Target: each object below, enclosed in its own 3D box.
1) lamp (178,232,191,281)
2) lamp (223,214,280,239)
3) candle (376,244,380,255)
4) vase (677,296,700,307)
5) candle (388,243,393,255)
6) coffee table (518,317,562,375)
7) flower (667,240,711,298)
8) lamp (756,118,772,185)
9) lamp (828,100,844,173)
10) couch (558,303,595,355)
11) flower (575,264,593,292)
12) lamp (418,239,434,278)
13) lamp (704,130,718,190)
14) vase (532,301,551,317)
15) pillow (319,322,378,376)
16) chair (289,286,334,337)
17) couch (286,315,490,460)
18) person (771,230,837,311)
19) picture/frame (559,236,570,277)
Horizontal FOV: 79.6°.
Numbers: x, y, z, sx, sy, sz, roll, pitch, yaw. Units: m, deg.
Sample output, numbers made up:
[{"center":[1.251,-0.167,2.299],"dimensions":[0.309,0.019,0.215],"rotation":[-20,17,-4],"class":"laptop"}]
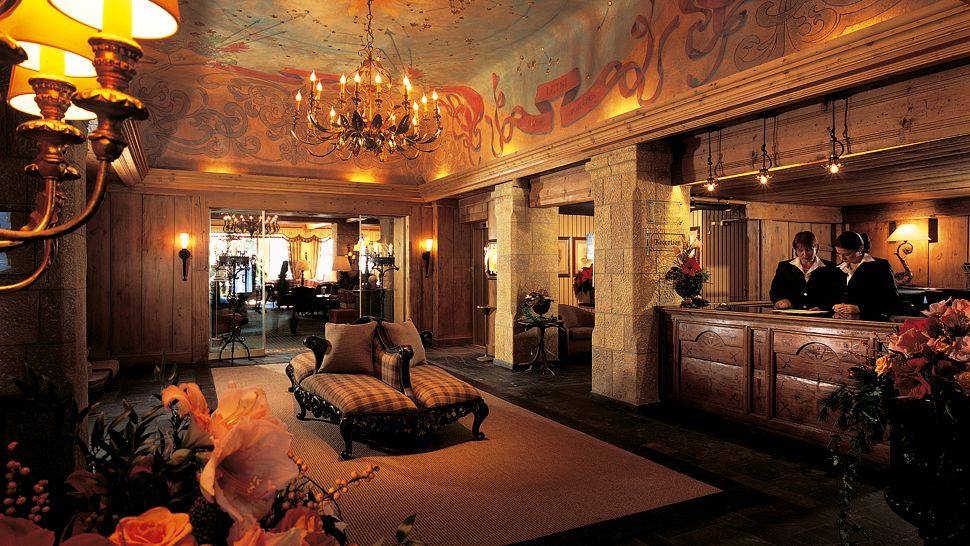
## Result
[{"center":[-5.469,-0.294,10.612],"dimensions":[0.222,0.866,0.257],"rotation":[-5,9,-26],"class":"lamp"},{"center":[-4.798,-0.981,12.024],"dimensions":[1.170,0.548,1.134],"rotation":[1,-2,-7],"class":"lamp"},{"center":[-2.370,-0.545,12.980],"dimensions":[0.129,0.226,0.407],"rotation":[-2,7,-10],"class":"candle"},{"center":[2.763,0.390,7.922],"dimensions":[0.183,0.063,0.186],"rotation":[-3,3,-28],"class":"vase"},{"center":[-2.121,-0.538,13.083],"dimensions":[0.133,0.253,0.058],"rotation":[4,9,28],"class":"candle"},{"center":[0.967,1.244,10.031],"dimensions":[0.796,0.784,0.731],"rotation":[10,-14,-26],"class":"coffee table"},{"center":[2.710,-0.014,7.910],"dimensions":[0.517,0.782,0.427],"rotation":[1,8,8],"class":"flower"},{"center":[3.292,-1.467,6.843],"dimensions":[0.169,0.748,0.331],"rotation":[3,9,24],"class":"lamp"},{"center":[3.781,-1.496,6.249],"dimensions":[0.182,0.768,0.346],"rotation":[4,9,29],"class":"lamp"},{"center":[1.599,1.086,11.154],"dimensions":[0.893,0.933,0.924],"rotation":[1,-6,-14],"class":"couch"},{"center":[2.208,0.133,13.005],"dimensions":[0.541,0.399,0.505],"rotation":[1,2,3],"class":"flower"},{"center":[-1.269,-0.324,12.737],"dimensions":[0.321,0.842,0.218],"rotation":[-4,9,-24],"class":"lamp"},{"center":[2.898,-1.462,7.468],"dimensions":[0.128,0.718,0.224],"rotation":[1,8,14],"class":"lamp"},{"center":[0.959,0.610,9.917],"dimensions":[0.317,0.198,0.274],"rotation":[0,-6,7],"class":"vase"},{"center":[-1.667,0.953,7.112],"dimensions":[0.696,0.585,0.229],"rotation":[2,-20,-6],"class":"pillow"},{"center":[-5.160,1.033,16.880],"dimensions":[1.659,1.664,1.311],"rotation":[0,1,-13],"class":"chair"},{"center":[-1.317,1.252,6.893],"dimensions":[1.395,0.848,2.134],"rotation":[0,-1,-25],"class":"couch"},{"center":[4.076,-0.041,7.373],"dimensions":[0.785,0.970,0.808],"rotation":[3,8,24],"class":"person"},{"center":[1.766,-0.375,12.993],"dimensions":[0.308,0.871,0.069],"rotation":[-5,9,-29],"class":"picture/frame"}]
